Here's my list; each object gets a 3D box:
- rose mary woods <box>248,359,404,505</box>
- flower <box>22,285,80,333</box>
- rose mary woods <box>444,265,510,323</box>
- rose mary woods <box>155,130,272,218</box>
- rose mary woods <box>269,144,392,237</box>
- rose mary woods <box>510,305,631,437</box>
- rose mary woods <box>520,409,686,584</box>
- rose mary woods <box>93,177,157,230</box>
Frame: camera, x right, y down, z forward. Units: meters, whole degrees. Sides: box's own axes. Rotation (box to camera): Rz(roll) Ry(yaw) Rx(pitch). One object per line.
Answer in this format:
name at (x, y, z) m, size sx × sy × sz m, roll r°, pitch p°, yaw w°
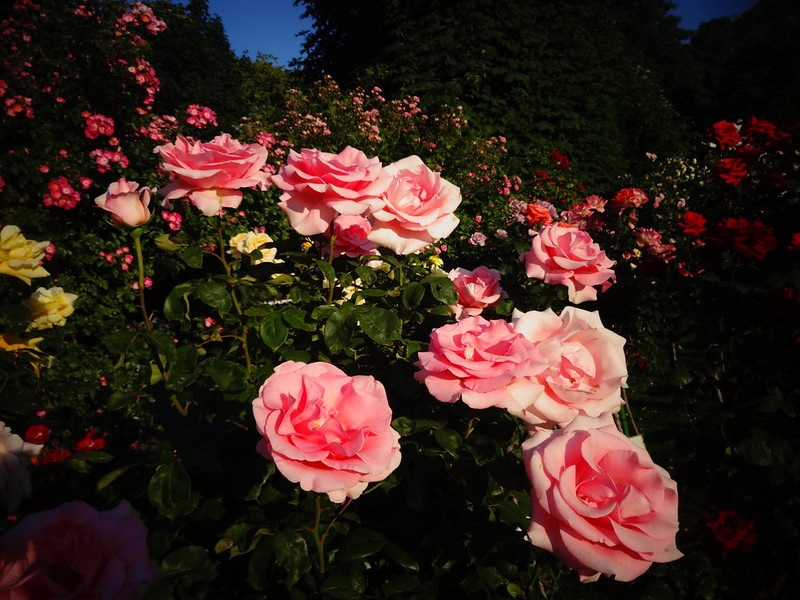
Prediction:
rose mary woods at (-0.300, 0.523, 2.461) m, size 0.530 × 0.509 × 0.367 m, roll -15°, pitch 26°, yaw -13°
flower at (-1.968, 0.013, 3.356) m, size 0.127 × 0.274 × 0.274 m, roll 27°, pitch -4°, yaw 43°
rose mary woods at (0.366, -0.059, 3.060) m, size 0.267 × 0.128 × 0.272 m, roll 15°, pitch 48°, yaw 32°
rose mary woods at (-0.864, -0.602, 2.764) m, size 0.362 × 0.204 × 0.395 m, roll 9°, pitch 1°, yaw 41°
rose mary woods at (-0.316, -0.531, 2.764) m, size 0.359 × 0.204 × 0.399 m, roll 13°, pitch 12°, yaw 0°
rose mary woods at (0.749, 0.355, 2.809) m, size 0.508 × 0.513 × 0.252 m, roll -19°, pitch -17°, yaw -11°
rose mary woods at (0.810, 0.774, 2.432) m, size 0.591 × 0.513 × 0.454 m, roll -4°, pitch 26°, yaw 11°
rose mary woods at (-1.250, -0.439, 2.804) m, size 0.260 × 0.222 × 0.242 m, roll -15°, pitch -1°, yaw 31°
